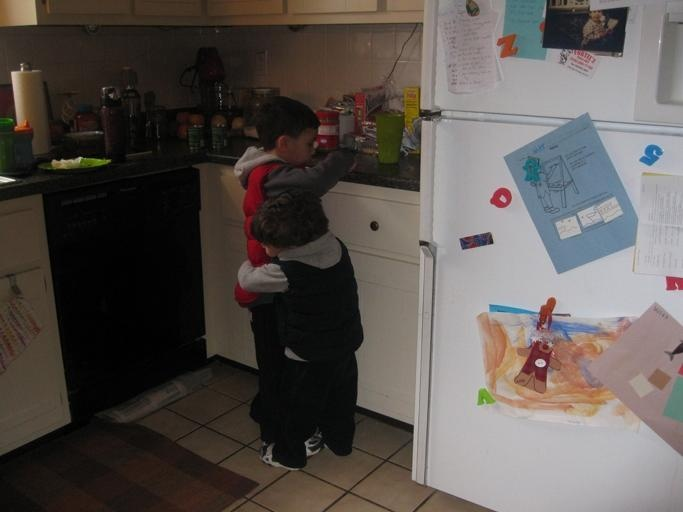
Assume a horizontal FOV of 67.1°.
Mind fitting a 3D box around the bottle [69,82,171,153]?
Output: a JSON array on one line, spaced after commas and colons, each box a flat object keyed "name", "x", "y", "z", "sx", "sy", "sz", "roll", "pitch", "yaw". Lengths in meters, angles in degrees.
[{"name": "bottle", "x": -1.078, "y": -0.649, "z": 2.497, "sx": 0.206, "sy": 0.328, "sz": 0.763, "roll": 0, "pitch": 12, "yaw": -5}]

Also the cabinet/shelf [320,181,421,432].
[{"name": "cabinet/shelf", "x": 0.239, "y": 0.125, "z": 2.223, "sx": 0.578, "sy": 0.946, "sz": 0.608, "roll": 1, "pitch": 20, "yaw": 4}]

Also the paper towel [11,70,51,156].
[{"name": "paper towel", "x": -1.343, "y": -0.620, "z": 2.216, "sx": 0.130, "sy": 0.357, "sz": 0.130, "roll": -9, "pitch": 22, "yaw": -32}]

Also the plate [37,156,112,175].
[{"name": "plate", "x": -1.049, "y": -0.367, "z": 2.054, "sx": 0.244, "sy": 0.037, "sz": 0.265, "roll": 14, "pitch": 26, "yaw": 40}]

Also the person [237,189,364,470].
[{"name": "person", "x": -0.145, "y": 0.294, "z": 1.871, "sx": 0.432, "sy": 1.064, "sz": 0.178, "roll": -2, "pitch": 18, "yaw": 2}]

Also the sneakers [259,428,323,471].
[{"name": "sneakers", "x": -0.177, "y": 0.737, "z": 2.072, "sx": 0.102, "sy": 0.135, "sz": 0.288, "roll": 10, "pitch": 8, "yaw": 42}]
